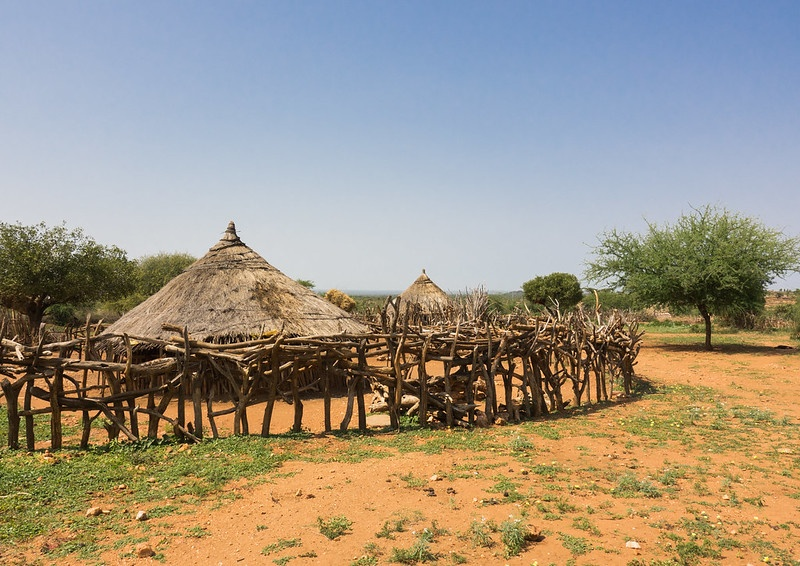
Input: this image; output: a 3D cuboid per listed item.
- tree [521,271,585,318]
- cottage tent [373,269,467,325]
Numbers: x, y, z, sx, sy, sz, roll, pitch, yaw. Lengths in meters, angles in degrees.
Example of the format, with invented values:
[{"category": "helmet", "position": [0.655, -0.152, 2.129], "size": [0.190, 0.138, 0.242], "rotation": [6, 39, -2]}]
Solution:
[{"category": "tree", "position": [10.680, 0.789, 38.459], "size": [2.988, 2.417, 2.954], "rotation": [-1, 6, -2]}, {"category": "cottage tent", "position": [1.285, 0.514, 32.179], "size": [4.877, 2.840, 4.873], "rotation": [-3, 5, 3]}]
